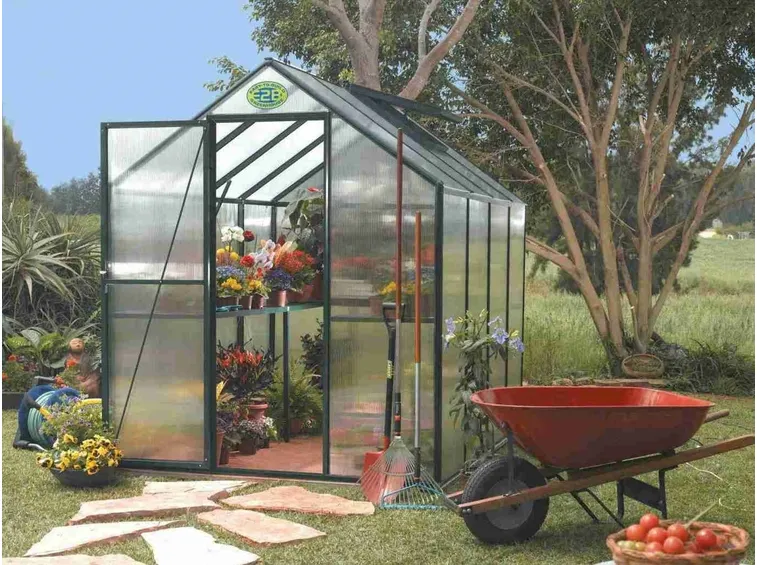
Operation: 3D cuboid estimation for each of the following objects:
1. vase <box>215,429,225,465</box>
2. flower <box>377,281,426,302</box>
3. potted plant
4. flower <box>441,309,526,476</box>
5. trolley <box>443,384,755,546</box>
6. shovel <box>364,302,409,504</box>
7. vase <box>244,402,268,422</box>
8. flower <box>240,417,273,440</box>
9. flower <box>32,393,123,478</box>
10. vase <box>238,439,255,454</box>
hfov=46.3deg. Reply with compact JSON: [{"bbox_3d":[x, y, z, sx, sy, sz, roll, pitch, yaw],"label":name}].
[{"bbox_3d":[-1.867,1.930,10.454,0.117,0.402,0.310,-2,13,-11],"label":"vase"},{"bbox_3d":[0.229,0.088,9.949,0.298,0.145,0.257,-6,-2,21],"label":"flower"},{"bbox_3d":[-1.095,1.501,11.721,0.577,1.007,0.576,1,2,16],"label":"potted plant"},{"bbox_3d":[1.099,1.108,10.168,0.698,2.053,0.817,3,3,-26],"label":"flower"},{"bbox_3d":[2.327,1.816,8.959,3.096,1.501,1.467,1,-4,-17],"label":"trolley"},{"bbox_3d":[0.117,1.265,9.660,0.543,2.087,1.065,1,12,0],"label":"shovel"},{"bbox_3d":[-1.528,1.626,11.109,0.188,0.141,0.202,-3,1,-2],"label":"vase"},{"bbox_3d":[-1.520,1.817,10.989,0.277,0.158,0.305,2,0,0],"label":"flower"},{"bbox_3d":[-3.458,1.817,10.082,0.936,0.765,1.073,-8,16,-37],"label":"flower"},{"bbox_3d":[-1.626,2.031,10.913,0.165,0.141,0.172,8,11,40],"label":"vase"}]
